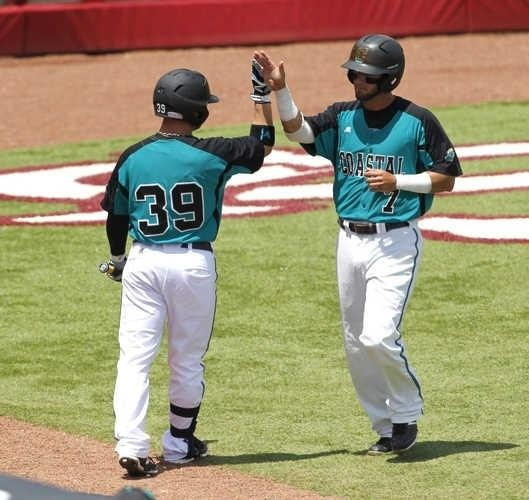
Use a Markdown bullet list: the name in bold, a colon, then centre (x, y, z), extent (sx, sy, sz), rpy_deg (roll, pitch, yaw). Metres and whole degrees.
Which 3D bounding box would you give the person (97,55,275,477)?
- **person**: centre (-0.561, 0.097, 7.295), extent (0.578, 2.387, 1.127), rpy_deg (11, 14, 42)

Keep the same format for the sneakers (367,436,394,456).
- **sneakers**: centre (0.727, 1.210, 7.374), extent (0.185, 0.073, 0.069), rpy_deg (1, -2, -36)

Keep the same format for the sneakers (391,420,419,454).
- **sneakers**: centre (0.864, 1.148, 7.343), extent (0.093, 0.236, 0.107), rpy_deg (-1, -26, 37)

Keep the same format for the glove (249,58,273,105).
- **glove**: centre (-0.037, -1.075, 7.608), extent (0.110, 0.301, 0.135), rpy_deg (-15, -11, -2)

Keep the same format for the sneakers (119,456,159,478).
- **sneakers**: centre (-0.739, 1.253, 7.105), extent (0.224, 0.154, 0.293), rpy_deg (1, 9, -3)

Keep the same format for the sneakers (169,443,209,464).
- **sneakers**: centre (-0.453, 1.234, 7.363), extent (0.098, 0.116, 0.262), rpy_deg (22, 29, 38)

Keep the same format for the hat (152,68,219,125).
- **hat**: centre (-0.547, -0.939, 7.262), extent (0.410, 0.292, 0.290), rpy_deg (-8, 23, -32)

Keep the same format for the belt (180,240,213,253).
- **belt**: centre (-0.398, -0.024, 7.181), extent (0.102, 0.027, 0.093), rpy_deg (-9, -18, 28)

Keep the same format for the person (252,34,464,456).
- **person**: centre (0.669, -0.070, 7.534), extent (0.668, 2.555, 1.006), rpy_deg (-7, 14, -42)

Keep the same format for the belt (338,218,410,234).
- **belt**: centre (0.657, -0.146, 7.411), extent (0.454, 0.100, 0.129), rpy_deg (5, 10, 19)

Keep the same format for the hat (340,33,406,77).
- **hat**: centre (0.683, -1.221, 7.449), extent (0.348, 0.220, 0.267), rpy_deg (-17, 28, -30)
